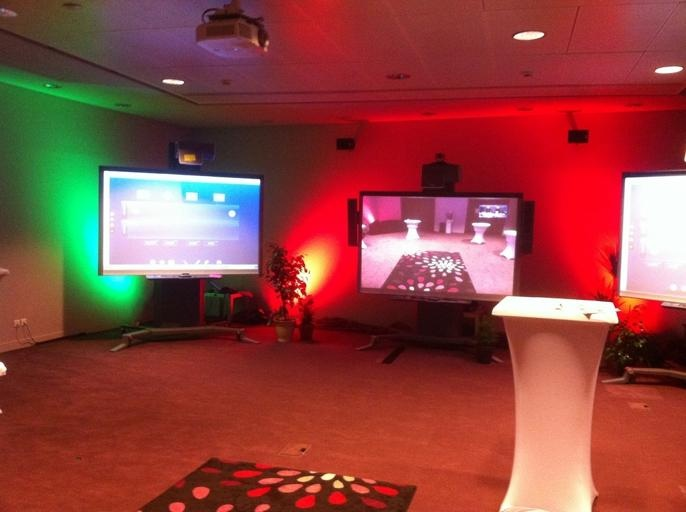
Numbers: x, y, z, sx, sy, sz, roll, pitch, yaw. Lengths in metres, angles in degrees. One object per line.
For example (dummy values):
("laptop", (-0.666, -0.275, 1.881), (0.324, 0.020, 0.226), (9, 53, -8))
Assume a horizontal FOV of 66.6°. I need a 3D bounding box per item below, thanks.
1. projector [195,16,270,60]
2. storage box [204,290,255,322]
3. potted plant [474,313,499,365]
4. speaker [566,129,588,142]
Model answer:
("projector", (-0.790, -1.589, 3.782), (0.411, 0.202, 0.364), (4, 8, 26))
("storage box", (-1.750, 0.708, 7.682), (0.524, 0.213, 0.506), (0, 0, 6))
("potted plant", (1.651, 0.950, 5.975), (0.255, 0.454, 0.617), (3, 7, 14))
("speaker", (2.931, -1.487, 6.541), (0.298, 0.187, 0.155), (0, 0, 8))
